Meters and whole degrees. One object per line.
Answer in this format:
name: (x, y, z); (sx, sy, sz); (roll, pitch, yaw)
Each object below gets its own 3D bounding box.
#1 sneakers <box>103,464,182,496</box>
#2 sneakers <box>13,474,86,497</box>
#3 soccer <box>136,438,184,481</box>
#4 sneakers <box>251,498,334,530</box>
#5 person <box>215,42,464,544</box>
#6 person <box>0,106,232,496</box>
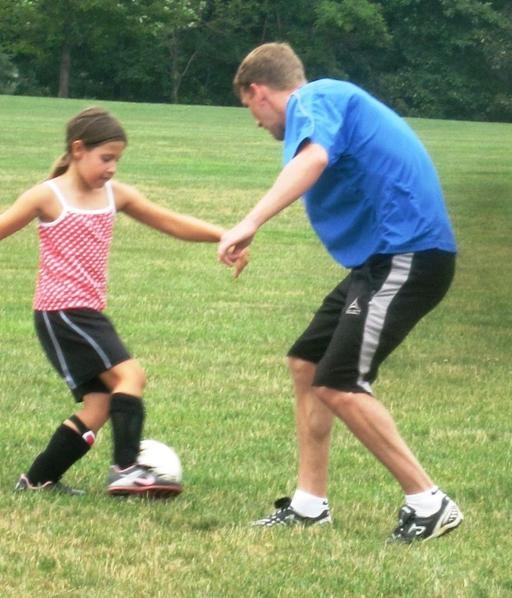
sneakers: (-0.578, 0.919, 6.615); (0.387, 0.151, 0.147); (1, -11, -9)
sneakers: (-1.061, 0.959, 6.790); (0.389, 0.123, 0.123); (2, 0, -8)
soccer: (-0.471, 0.813, 6.754); (0.238, 0.099, 0.175); (28, -20, -8)
sneakers: (0.188, 1.093, 6.603); (0.431, 0.161, 0.136); (2, -8, -4)
person: (0.479, -0.031, 6.482); (1.422, 2.384, 0.782); (10, 10, 12)
person: (-0.824, 0.017, 6.767); (1.054, 1.983, 0.730); (7, 10, -4)
